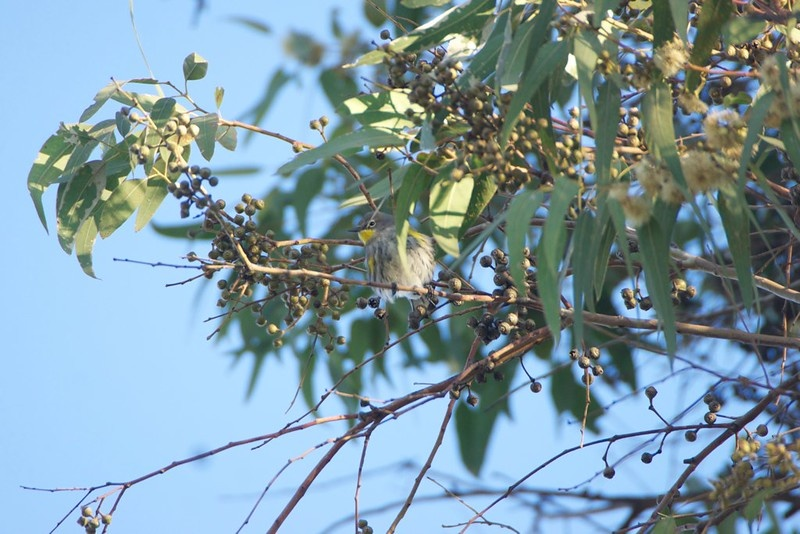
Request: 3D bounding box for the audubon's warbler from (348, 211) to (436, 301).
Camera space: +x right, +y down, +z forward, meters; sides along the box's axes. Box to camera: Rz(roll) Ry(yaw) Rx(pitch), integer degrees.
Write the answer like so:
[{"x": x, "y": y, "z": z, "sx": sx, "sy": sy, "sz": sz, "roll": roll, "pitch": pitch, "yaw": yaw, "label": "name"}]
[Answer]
[{"x": -0.107, "y": -0.088, "z": 8.680, "sx": 0.597, "sy": 0.441, "sz": 0.705, "roll": -1, "pitch": -95, "yaw": -34, "label": "audubon's warbler"}]
